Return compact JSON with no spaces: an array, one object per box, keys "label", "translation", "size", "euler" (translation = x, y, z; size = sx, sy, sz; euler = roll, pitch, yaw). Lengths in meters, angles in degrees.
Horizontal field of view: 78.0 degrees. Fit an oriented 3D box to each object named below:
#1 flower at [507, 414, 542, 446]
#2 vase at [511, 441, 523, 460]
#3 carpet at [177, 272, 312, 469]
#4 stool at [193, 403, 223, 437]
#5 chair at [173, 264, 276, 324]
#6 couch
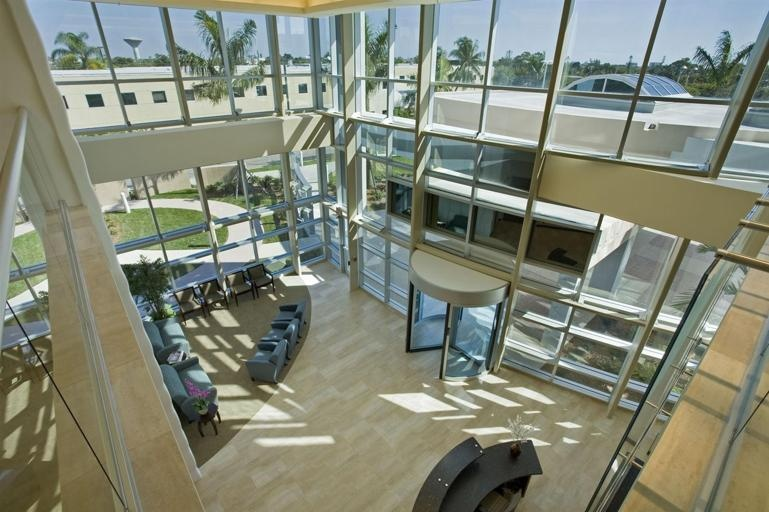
[{"label":"flower","translation":[2.828,3.609,9.877],"size":[0.638,0.464,0.662],"euler":[6,33,17]},{"label":"vase","translation":[2.535,3.779,9.140],"size":[0.170,0.290,0.143],"euler":[16,43,12]},{"label":"carpet","translation":[-3.841,3.120,13.096],"size":[2.204,1.038,4.204],"euler":[15,44,21]},{"label":"stool","translation":[-3.831,3.472,10.348],"size":[0.539,0.870,0.492],"euler":[-21,32,-37]},{"label":"chair","translation":[-4.943,1.221,14.375],"size":[1.761,0.630,0.444],"euler":[-24,51,-31]},{"label":"couch","translation":[-4.316,3.230,11.404],"size":[1.716,2.225,2.471],"euler":[-2,12,-28]}]
